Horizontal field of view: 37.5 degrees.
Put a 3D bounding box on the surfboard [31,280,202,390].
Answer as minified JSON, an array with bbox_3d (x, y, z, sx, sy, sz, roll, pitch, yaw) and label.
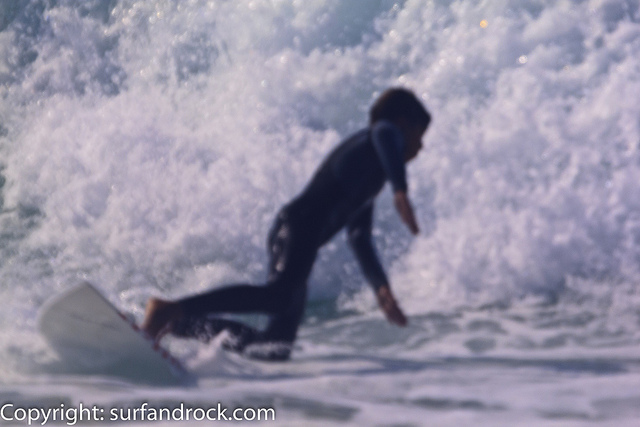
[{"bbox_3d":[-1.377,0.940,6.558,1.560,0.214,0.503,20,62,41],"label":"surfboard"}]
